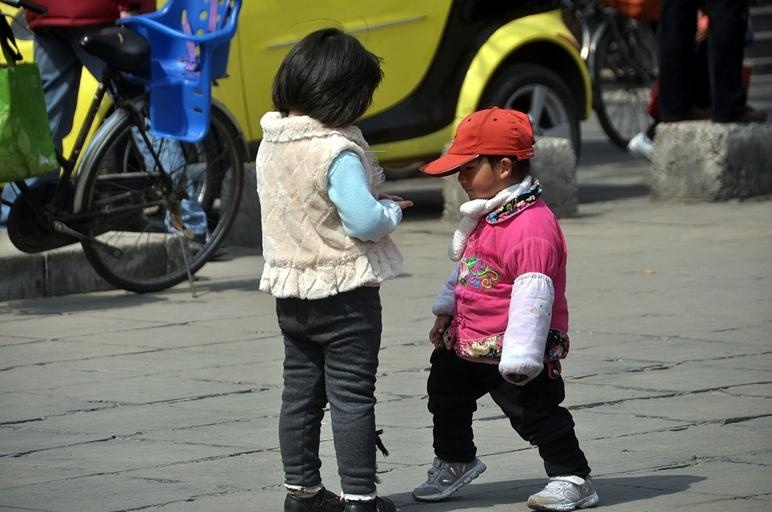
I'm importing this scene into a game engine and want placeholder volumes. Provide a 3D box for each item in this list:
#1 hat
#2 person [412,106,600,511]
[{"bbox_3d":[0.390,-0.509,5.776,0.560,0.253,0.320,-8,10,-6],"label":"hat"},{"bbox_3d":[0.504,0.220,5.653,0.794,1.705,0.465,0,7,11],"label":"person"}]
